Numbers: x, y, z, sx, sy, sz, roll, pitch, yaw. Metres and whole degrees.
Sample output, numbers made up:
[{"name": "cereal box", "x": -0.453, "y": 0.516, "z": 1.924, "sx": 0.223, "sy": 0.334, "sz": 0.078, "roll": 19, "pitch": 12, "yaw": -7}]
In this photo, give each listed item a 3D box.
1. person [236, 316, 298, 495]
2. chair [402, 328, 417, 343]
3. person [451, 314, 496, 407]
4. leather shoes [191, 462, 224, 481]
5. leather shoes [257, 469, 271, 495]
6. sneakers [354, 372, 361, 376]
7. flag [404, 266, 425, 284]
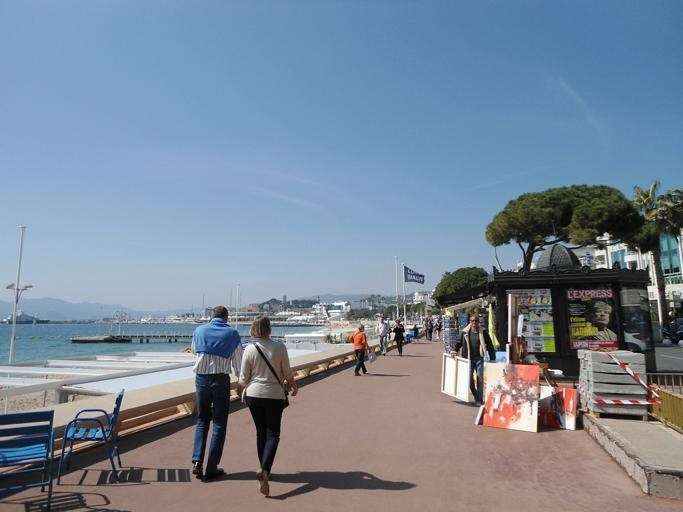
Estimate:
[{"name": "person", "x": -1.014, "y": 1.962, "z": 6.110, "sx": 0.699, "sy": 2.279, "sz": 0.763, "roll": 3, "pitch": -8, "yaw": -35}, {"name": "chair", "x": 7.235, "y": 8.203, "z": 46.381, "sx": 1.648, "sy": 1.302, "sz": 3.094, "roll": -2, "pitch": -9, "yaw": 9}, {"name": "person", "x": 3.339, "y": 2.588, "z": 11.160, "sx": 0.961, "sy": 2.232, "sz": 1.511, "roll": -4, "pitch": -7, "yaw": 17}, {"name": "leather shoes", "x": -1.817, "y": 2.997, "z": 6.260, "sx": 0.517, "sy": 0.221, "sz": 0.175, "roll": 7, "pitch": -7, "yaw": -40}, {"name": "leather shoes", "x": -0.997, "y": 2.885, "z": 5.676, "sx": 0.124, "sy": 0.375, "sz": 0.249, "roll": -10, "pitch": -6, "yaw": 1}, {"name": "sneakers", "x": 0.645, "y": 4.478, "z": 17.068, "sx": 0.266, "sy": 0.140, "sz": 0.447, "roll": -2, "pitch": -8, "yaw": -1}, {"name": "flag", "x": 8.059, "y": 2.298, "z": 50.655, "sx": 2.989, "sy": 3.050, "sz": 0.359, "roll": 6, "pitch": -46, "yaw": -12}]
